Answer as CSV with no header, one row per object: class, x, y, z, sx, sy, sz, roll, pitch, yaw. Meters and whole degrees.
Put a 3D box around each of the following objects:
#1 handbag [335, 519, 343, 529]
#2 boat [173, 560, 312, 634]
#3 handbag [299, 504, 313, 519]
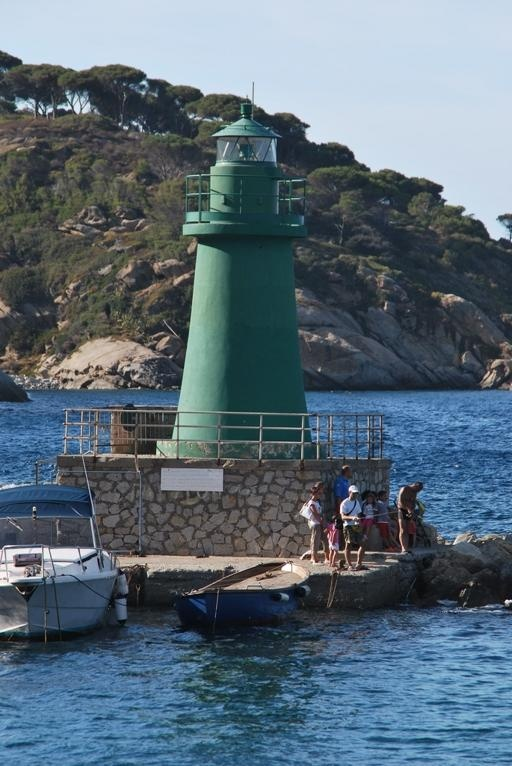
handbag,1.358,2.306,29.388,0.097,0.090,0.155,24,26,-18
boat,-0.226,3.337,27.927,2.180,0.992,1.272,0,-4,-17
handbag,0.821,2.050,29.045,0.085,0.282,0.185,10,-16,-21
